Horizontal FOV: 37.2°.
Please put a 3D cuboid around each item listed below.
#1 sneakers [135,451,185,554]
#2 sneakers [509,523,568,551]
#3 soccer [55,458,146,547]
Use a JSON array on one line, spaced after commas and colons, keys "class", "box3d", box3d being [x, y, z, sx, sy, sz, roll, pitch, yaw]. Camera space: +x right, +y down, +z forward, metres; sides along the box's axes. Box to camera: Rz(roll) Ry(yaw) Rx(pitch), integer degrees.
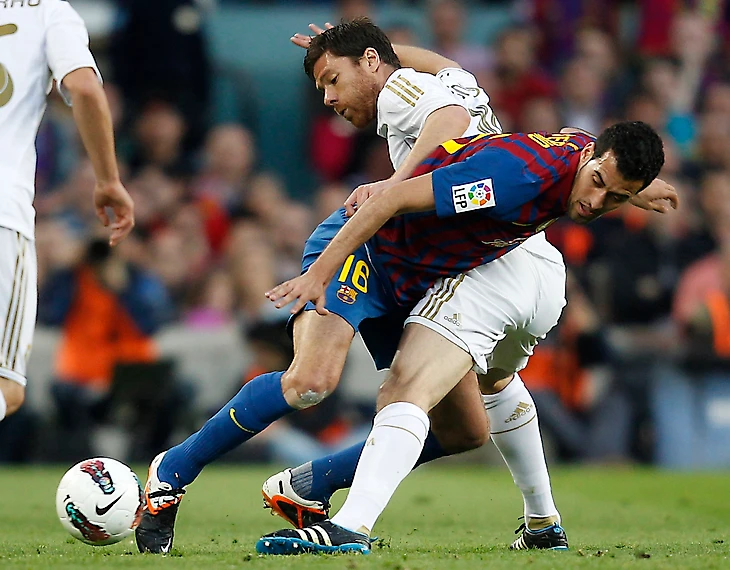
[{"class": "sneakers", "box3d": [-1.056, 1.104, 5.539, 0.201, 0.510, 0.161, -3, -10, 31]}, {"class": "sneakers", "box3d": [0.933, 1.365, 5.885, 0.125, 0.155, 0.359, -2, -2, -28]}, {"class": "soccer", "box3d": [-1.371, 1.058, 5.592, 0.388, 0.459, 0.404, -12, 2, 5]}]
